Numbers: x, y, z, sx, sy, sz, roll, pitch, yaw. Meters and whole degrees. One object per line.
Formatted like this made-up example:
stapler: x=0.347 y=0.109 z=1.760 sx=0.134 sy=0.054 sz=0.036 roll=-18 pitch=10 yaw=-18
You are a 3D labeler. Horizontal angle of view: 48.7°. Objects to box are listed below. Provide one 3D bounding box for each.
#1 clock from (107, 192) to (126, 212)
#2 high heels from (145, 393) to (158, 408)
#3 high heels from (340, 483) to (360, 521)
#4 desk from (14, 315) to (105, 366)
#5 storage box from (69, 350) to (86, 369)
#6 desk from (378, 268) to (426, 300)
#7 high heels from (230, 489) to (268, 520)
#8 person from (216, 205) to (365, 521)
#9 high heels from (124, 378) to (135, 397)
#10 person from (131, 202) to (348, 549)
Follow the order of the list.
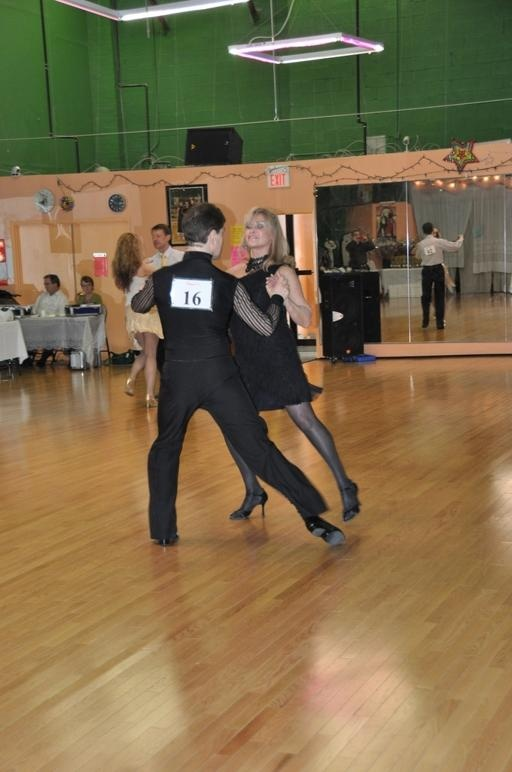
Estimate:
clock: x=-2.578 y=-3.421 z=10.496 sx=0.362 sy=0.230 sz=0.081 roll=-4 pitch=-2 yaw=23
high heels: x=-1.185 y=0.155 z=6.380 sx=0.119 sy=0.140 sz=0.342 roll=-1 pitch=-7 yaw=-3
high heels: x=0.454 y=0.563 z=2.780 sx=0.083 sy=0.211 sz=0.084 roll=-4 pitch=-17 yaw=20
desk: x=-3.240 y=-0.912 z=9.556 sx=1.260 sy=0.619 sz=0.920 roll=1 pitch=9 yaw=7
storage box: x=-3.030 y=-0.452 z=9.629 sx=0.297 sy=0.314 sz=0.278 roll=-2 pitch=6 yaw=-3
desk: x=2.458 y=-1.817 z=9.762 sx=0.710 sy=0.493 sz=0.514 roll=0 pitch=5 yaw=5
high heels: x=-0.085 y=0.648 z=3.112 sx=0.271 sy=0.180 sz=0.094 roll=-2 pitch=2 yaw=-17
person: x=0.046 y=-0.117 z=2.628 sx=0.786 sy=1.482 sz=0.514 roll=-2 pitch=0 yaw=3
high heels: x=-1.472 y=0.038 z=6.549 sx=0.092 sy=0.273 sz=0.114 roll=1 pitch=22 yaw=-4
person: x=-0.096 y=-0.028 z=2.553 sx=0.958 sy=1.464 sz=0.478 roll=3 pitch=14 yaw=8
